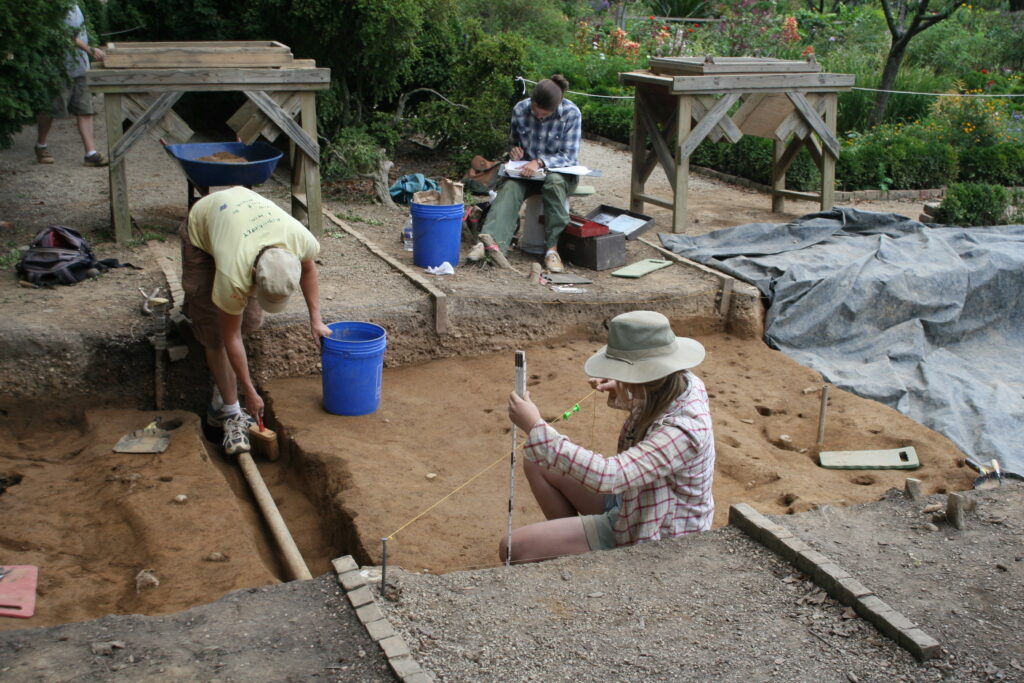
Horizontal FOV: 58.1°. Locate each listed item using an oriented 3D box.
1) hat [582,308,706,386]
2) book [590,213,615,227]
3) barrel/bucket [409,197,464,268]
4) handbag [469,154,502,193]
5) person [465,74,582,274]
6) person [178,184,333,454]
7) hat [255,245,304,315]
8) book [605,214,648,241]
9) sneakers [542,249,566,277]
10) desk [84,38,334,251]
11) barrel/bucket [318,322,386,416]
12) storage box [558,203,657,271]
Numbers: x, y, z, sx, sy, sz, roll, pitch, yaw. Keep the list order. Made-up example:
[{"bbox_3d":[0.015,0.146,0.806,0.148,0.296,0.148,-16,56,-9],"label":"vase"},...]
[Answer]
[{"bbox_3d":[0.797,0.034,5.657,0.580,0.248,0.513,0,21,8],"label":"hat"},{"bbox_3d":[1.008,-1.406,10.623,0.264,0.060,0.248,14,33,41],"label":"book"},{"bbox_3d":[-0.844,-1.146,9.724,0.721,0.700,0.681,4,14,-1],"label":"barrel/bucket"},{"bbox_3d":[-0.364,-2.250,12.282,0.493,0.443,0.192,10,-20,14],"label":"handbag"},{"bbox_3d":[0.181,-1.823,9.896,1.032,1.858,1.264,8,25,2],"label":"person"},{"bbox_3d":[-2.197,-0.064,7.450,1.127,2.228,0.843,8,26,2],"label":"person"},{"bbox_3d":[-1.730,-0.477,6.828,0.346,0.439,0.244,-3,4,-16],"label":"hat"},{"bbox_3d":[1.276,-1.309,10.342,0.348,0.085,0.377,-37,39,-25],"label":"book"},{"bbox_3d":[0.430,-0.844,9.834,0.181,0.119,0.304,-8,27,-4],"label":"sneakers"},{"bbox_3d":[-3.371,-2.307,10.657,2.434,1.766,2.320,-2,23,-14],"label":"desk"},{"bbox_3d":[-1.395,0.207,8.189,0.840,0.763,0.685,-1,17,-16],"label":"barrel/bucket"},{"bbox_3d":[0.962,-1.193,10.361,0.928,0.413,0.926,-22,30,-37],"label":"storage box"}]
